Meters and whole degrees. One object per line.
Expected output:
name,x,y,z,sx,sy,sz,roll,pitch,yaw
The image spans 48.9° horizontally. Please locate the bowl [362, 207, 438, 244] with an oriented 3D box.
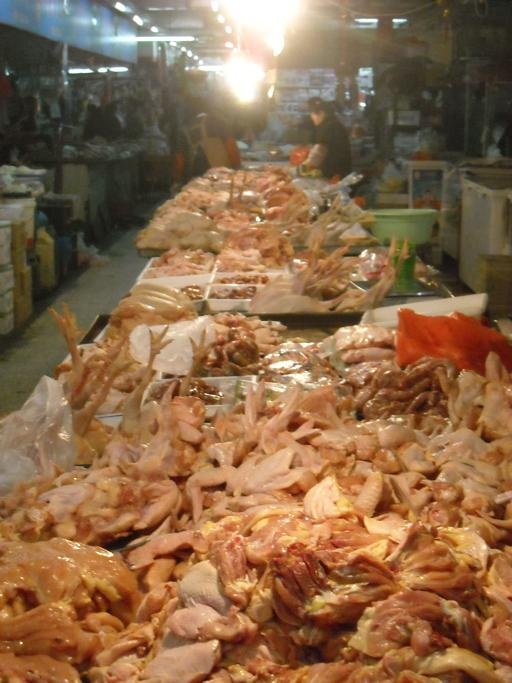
bowl,1.361,-1.081,5.301,0.414,0.313,0.666,-4,13,-18
